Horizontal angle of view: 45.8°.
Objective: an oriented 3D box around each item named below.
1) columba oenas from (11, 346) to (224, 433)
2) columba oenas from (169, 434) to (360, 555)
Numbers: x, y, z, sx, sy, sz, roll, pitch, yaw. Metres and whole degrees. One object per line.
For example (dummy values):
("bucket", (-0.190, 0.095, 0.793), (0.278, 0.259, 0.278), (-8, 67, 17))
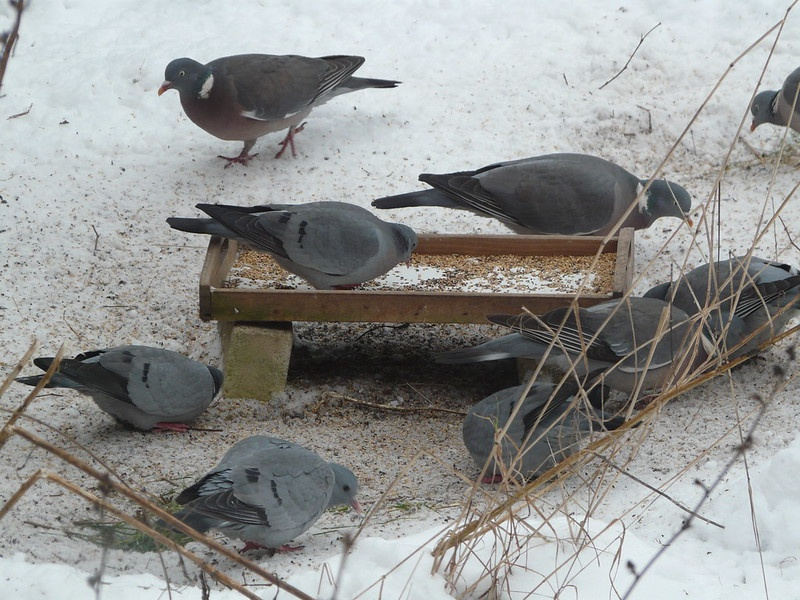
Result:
("columba oenas", (-1.392, 0.448, 5.065), (0.747, 0.580, 0.375), (8, 55, 12))
("columba oenas", (-0.552, 0.897, 4.272), (0.628, 0.485, 0.559), (15, 54, 17))
